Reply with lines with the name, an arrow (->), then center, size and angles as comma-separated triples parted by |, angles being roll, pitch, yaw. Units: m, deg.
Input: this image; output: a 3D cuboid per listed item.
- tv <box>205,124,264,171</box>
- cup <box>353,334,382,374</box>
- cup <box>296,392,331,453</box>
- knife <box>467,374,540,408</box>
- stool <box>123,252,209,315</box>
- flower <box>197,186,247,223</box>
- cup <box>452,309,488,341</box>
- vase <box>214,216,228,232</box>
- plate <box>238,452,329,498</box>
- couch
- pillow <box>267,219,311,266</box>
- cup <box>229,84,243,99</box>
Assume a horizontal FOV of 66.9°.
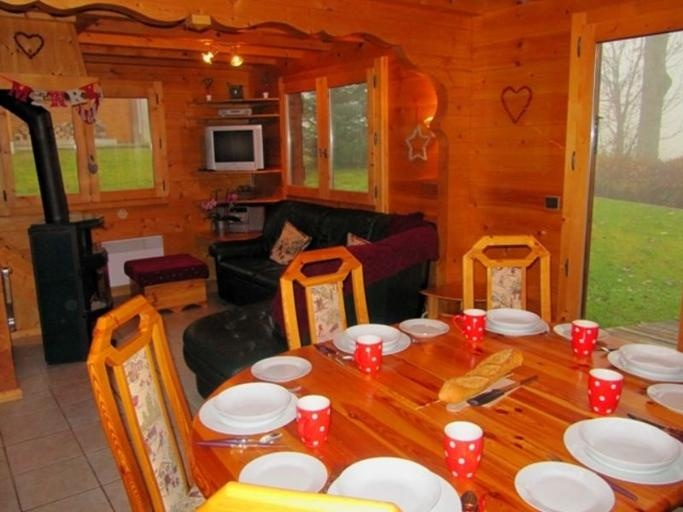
tv -> -1.201, -1.308, 6.256 | 1.057, 0.614, 0.506 | 0, 18, -4
cup -> 0.104, 0.379, 2.008 | 0.154, 0.124, 0.113 | 4, 8, 25
cup -> -0.076, 0.524, 1.618 | 0.116, 0.126, 0.163 | 3, 10, 11
knife -> 0.623, 0.491, 1.912 | 0.476, 0.019, 0.080 | -9, 13, -39
stool -> -1.833, 0.236, 5.444 | 0.710, 0.388, 0.677 | -8, 17, -32
flower -> -1.464, -0.644, 6.416 | 0.573, 0.391, 0.492 | -1, 9, 0
cup -> 0.580, 0.301, 2.338 | 0.115, 0.110, 0.172 | -3, 4, -36
vase -> -1.453, -0.377, 6.203 | 0.208, 0.181, 0.192 | 0, 6, 4
plate -> -0.157, 0.615, 1.514 | 0.256, 0.042, 0.154 | 4, 13, 10
couch -> -0.256, 0.211, 4.037 | 1.732, 0.955, 2.224 | -5, 10, -30
pillow -> -0.552, -0.118, 5.390 | 0.136, 0.453, 0.503 | 27, 7, -44
cup -> -1.278, -2.023, 6.339 | 0.208, 0.140, 0.188 | 2, 11, 4
